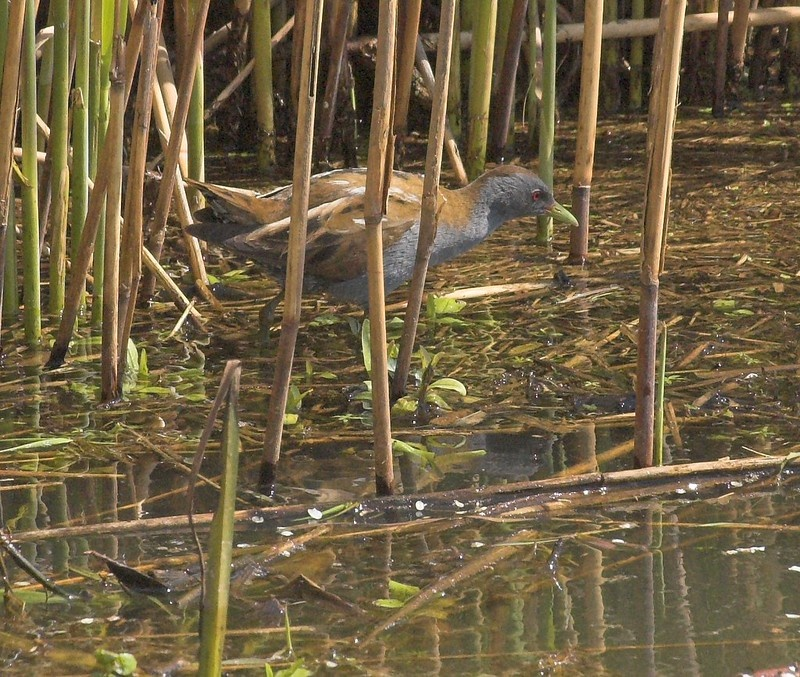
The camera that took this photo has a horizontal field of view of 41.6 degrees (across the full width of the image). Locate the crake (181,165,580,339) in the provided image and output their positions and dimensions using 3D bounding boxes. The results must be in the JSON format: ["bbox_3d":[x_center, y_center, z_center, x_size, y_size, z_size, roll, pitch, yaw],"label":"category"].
[{"bbox_3d":[-0.061,-0.416,3.771,1.411,0.459,0.393,4,44,1],"label":"crake"}]
